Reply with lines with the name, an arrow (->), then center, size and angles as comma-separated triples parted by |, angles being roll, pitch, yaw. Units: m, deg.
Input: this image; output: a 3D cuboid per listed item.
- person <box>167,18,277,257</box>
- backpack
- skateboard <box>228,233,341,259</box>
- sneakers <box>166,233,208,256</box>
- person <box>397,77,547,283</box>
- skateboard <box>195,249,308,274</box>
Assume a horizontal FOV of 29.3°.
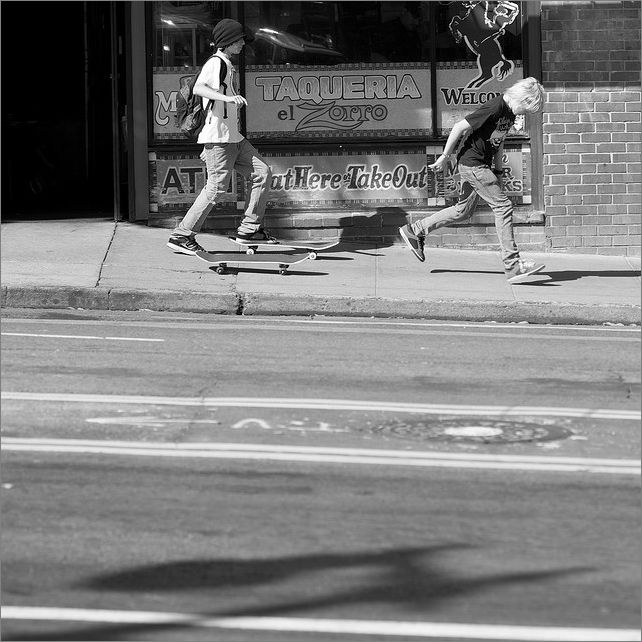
person -> -1.082, -1.683, 11.368 | 1.078, 2.172, 0.706 | -1, 11, -14
backpack -> -1.181, -1.996, 11.516 | 0.506, 0.745, 0.578 | -8, 1, -3
skateboard -> -0.716, -0.729, 12.159 | 1.667, 0.232, 0.369 | 2, 11, 4
sneakers -> -1.438, -0.697, 11.376 | 0.457, 0.181, 0.155 | 9, 25, -7
person -> 1.473, -1.262, 11.281 | 1.297, 1.866, 0.716 | 4, 11, 14
skateboard -> -0.739, -0.576, 11.502 | 1.380, 0.202, 0.368 | 1, 15, -1
